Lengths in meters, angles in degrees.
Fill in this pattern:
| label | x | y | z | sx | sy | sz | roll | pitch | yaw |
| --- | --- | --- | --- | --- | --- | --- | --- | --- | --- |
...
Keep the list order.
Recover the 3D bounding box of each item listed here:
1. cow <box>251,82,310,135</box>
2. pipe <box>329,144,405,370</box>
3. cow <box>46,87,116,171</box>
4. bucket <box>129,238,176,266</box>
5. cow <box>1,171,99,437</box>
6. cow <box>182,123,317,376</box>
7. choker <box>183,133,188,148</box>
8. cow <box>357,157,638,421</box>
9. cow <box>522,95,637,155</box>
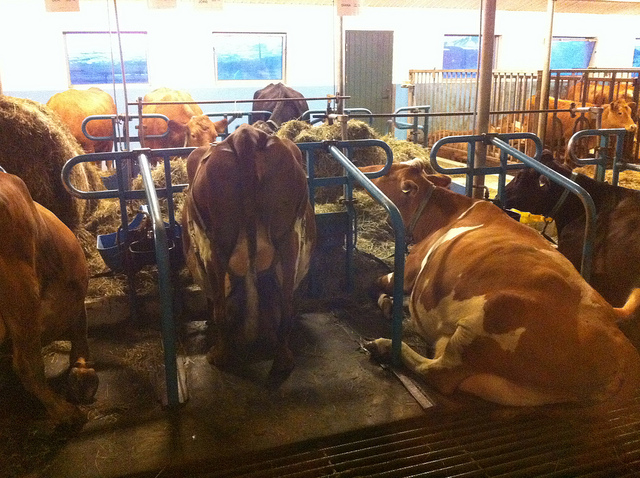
| label | x | y | z | sx | sy | sz | roll | pitch | yaw |
| --- | --- | --- | --- | --- | --- | --- | --- | --- | --- |
| cow | -0.776 | -2.045 | 7.915 | 1.031 | 0.401 | 0.544 | -11 | -4 | 7 |
| pipe | 0.175 | 0.026 | 4.131 | 0.083 | 1.490 | 2.484 | -17 | 2 | -7 |
| cow | -3.728 | -1.726 | 7.901 | 0.818 | 1.227 | 1.943 | -8 | 21 | -19 |
| bucket | -1.220 | 0.093 | 3.455 | 0.242 | 0.129 | 0.341 | -2 | 4 | -20 |
| cow | -1.361 | 0.291 | 2.471 | 0.268 | 1.180 | 0.684 | -6 | 20 | -15 |
| cow | -0.379 | 0.047 | 2.923 | 0.780 | 1.361 | 0.695 | -6 | 20 | -14 |
| choker | -1.899 | -1.396 | 7.014 | 0.095 | 0.192 | 0.037 | 5 | 4 | 21 |
| cow | 0.933 | 0.324 | 2.765 | 0.862 | 0.850 | 1.533 | -12 | 23 | -29 |
| cow | 4.285 | -1.883 | 8.120 | 1.604 | 0.957 | 2.298 | 5 | 21 | 16 |
